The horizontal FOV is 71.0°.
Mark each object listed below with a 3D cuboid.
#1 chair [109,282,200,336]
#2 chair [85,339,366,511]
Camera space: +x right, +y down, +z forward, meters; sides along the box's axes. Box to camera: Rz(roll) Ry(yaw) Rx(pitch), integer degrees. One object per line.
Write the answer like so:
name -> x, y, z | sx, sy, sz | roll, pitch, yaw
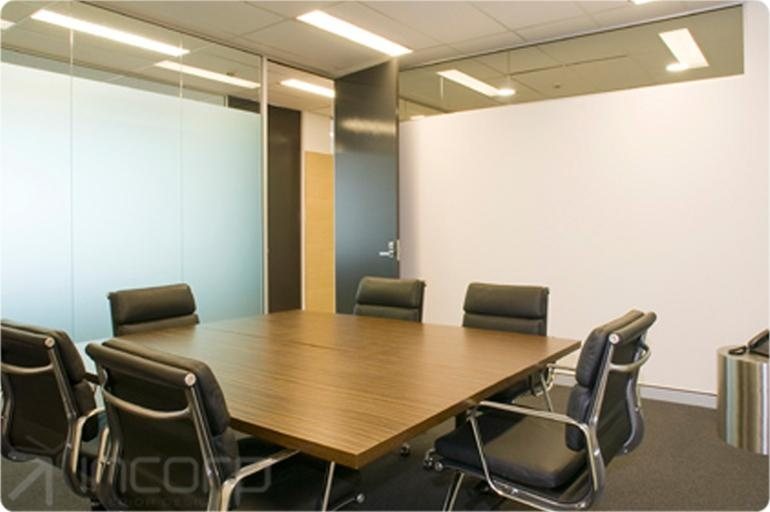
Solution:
chair -> -1.968, 0.449, 4.608 | 0.792, 0.494, 0.469 | -4, -1, -42
chair -> -1.045, 0.857, 3.340 | 1.297, 1.248, 1.256 | 1, 2, 39
